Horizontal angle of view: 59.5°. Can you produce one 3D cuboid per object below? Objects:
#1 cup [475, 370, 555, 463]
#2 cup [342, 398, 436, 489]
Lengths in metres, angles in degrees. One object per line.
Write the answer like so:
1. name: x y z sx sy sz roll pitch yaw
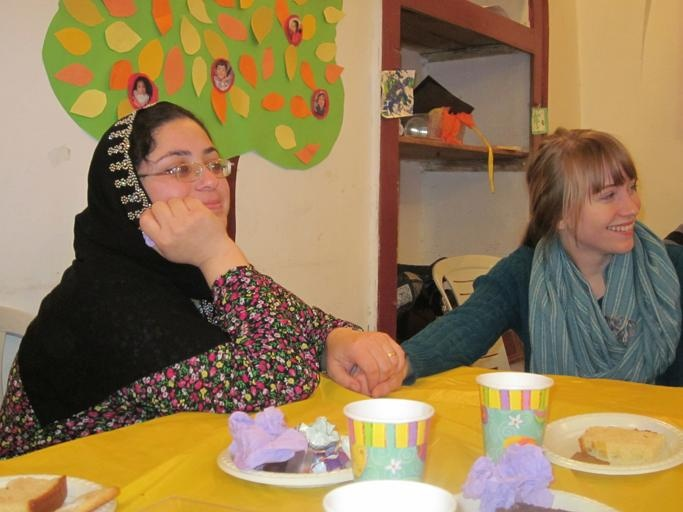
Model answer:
1. cup: 0.286 0.258 1.015 0.133 0.143 0.139 1 -5 0
2. cup: 0.070 0.288 0.950 0.143 0.119 0.149 1 10 0
